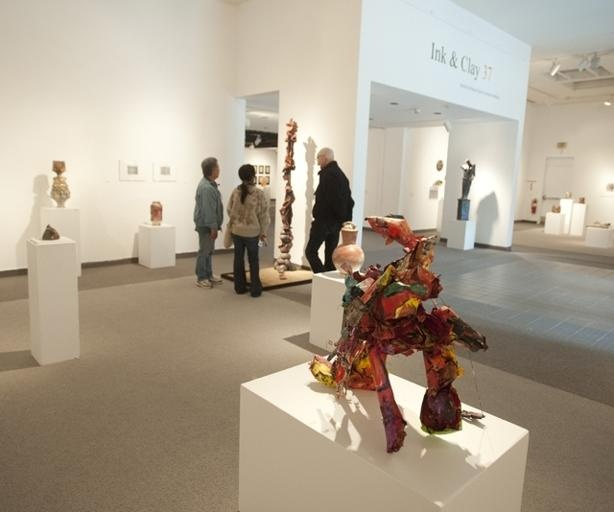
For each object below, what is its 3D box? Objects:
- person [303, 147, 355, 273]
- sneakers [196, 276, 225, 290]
[{"bbox_3d":[0.334,-0.650,6.242,0.557,1.793,0.738,6,10,24],"label":"person"},{"bbox_3d":[-1.413,0.401,6.296,0.359,0.173,0.152,2,5,32],"label":"sneakers"}]
